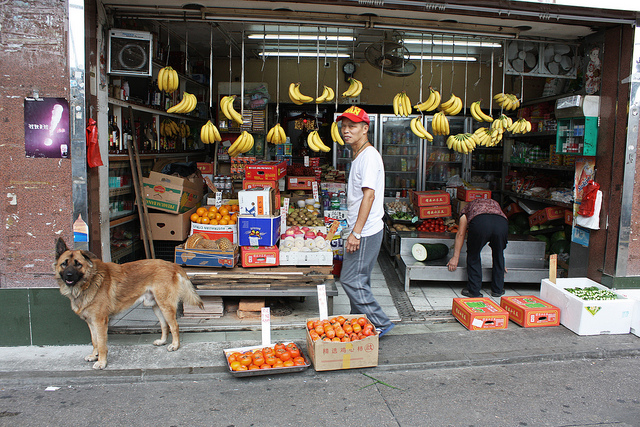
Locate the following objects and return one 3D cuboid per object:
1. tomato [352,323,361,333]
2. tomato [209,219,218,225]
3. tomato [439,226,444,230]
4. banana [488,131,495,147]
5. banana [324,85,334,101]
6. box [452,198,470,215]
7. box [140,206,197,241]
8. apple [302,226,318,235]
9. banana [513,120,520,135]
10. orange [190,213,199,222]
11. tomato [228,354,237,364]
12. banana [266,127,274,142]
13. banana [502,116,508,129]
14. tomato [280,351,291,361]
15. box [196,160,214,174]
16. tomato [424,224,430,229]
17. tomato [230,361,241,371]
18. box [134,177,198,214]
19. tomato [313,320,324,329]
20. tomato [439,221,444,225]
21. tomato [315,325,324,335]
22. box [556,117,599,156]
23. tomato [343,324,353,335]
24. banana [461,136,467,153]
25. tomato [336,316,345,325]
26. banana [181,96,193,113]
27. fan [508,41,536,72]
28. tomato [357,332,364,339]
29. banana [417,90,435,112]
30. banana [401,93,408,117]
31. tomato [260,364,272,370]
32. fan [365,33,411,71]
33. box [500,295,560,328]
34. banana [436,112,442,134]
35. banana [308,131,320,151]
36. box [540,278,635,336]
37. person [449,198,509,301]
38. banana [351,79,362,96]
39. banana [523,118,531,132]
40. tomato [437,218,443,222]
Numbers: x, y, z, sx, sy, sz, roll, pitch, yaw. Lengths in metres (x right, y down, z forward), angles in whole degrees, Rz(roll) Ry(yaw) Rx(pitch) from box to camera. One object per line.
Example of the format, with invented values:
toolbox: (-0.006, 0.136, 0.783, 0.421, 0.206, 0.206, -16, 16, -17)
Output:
tomato: (0.405, 1.231, 4.788, 0.078, 0.077, 0.076, 1, 16, 5)
tomato: (-1.393, 0.118, 5.917, 0.067, 0.080, 0.067, 11, 40, 12)
tomato: (2.263, 0.271, 8.224, 0.057, 0.067, 0.057, -11, -4, 0)
banana: (2.686, -1.173, 6.946, 0.058, 0.209, 0.078, 4, -20, -11)
banana: (0.158, -1.719, 6.477, 0.138, 0.217, 0.055, 1, -22, -17)
box: (2.803, -0.175, 8.770, 0.223, 0.254, 0.386, 2, 8, 1)
box: (-2.140, 0.189, 6.460, 0.439, 0.275, 0.617, 0, 2, 3)
apple: (-0.142, 0.245, 6.416, 0.181, 0.078, 0.090, 11, 2, 20)
banana: (3.066, -1.334, 6.968, 0.049, 0.182, 0.036, 12, 26, -23)
orange: (-1.692, 0.060, 6.059, 0.103, 0.104, 0.105, 32, 42, 28)
tomato: (-0.909, 1.521, 4.655, 0.059, 0.059, 0.058, 9, 2, 7)
banana: (-0.726, -1.122, 6.379, 0.060, 0.220, 0.087, 32, 18, 22)
banana: (2.808, -1.381, 6.761, 0.069, 0.193, 0.052, -14, 6, -33)
tomato: (-0.352, 1.487, 4.653, 0.078, 0.077, 0.078, -2, -2, 4)
box: (-2.162, -0.939, 8.536, 0.358, 0.235, 0.191, 1, -28, -6)
tomato: (2.004, 0.238, 8.266, 0.058, 0.058, 0.075, -24, 18, -33)
tomato: (-0.858, 1.550, 4.553, 0.085, 0.070, 0.072, -10, 13, 0)
box: (-2.251, -0.257, 6.619, 0.899, 0.391, 0.874, 14, -4, -43)
tomato: (-0.009, 1.217, 4.899, 0.068, 0.067, 0.063, -1, 2, 0)
tomato: (2.295, 0.186, 8.323, 0.071, 0.111, 0.064, -7, -3, 35)
tomato: (0.003, 1.252, 4.778, 0.074, 0.073, 0.074, 28, -26, 8)
box: (3.622, -1.089, 6.287, 0.213, 0.530, 0.579, -3, 9, -9)
tomato: (0.311, 1.244, 4.779, 0.092, 0.087, 0.088, -2, -25, -4)
banana: (2.294, -1.089, 7.094, 0.090, 0.259, 0.071, 3, -22, -43)
tomato: (0.237, 1.170, 4.921, 0.074, 0.073, 0.069, 22, 17, 3)
banana: (-1.819, -1.480, 6.145, 0.049, 0.181, 0.140, 12, -31, -3)
fan: (2.897, -2.242, 6.382, 0.406, 0.430, 0.090, -4, 10, -10)
tomato: (0.441, 1.296, 4.746, 0.058, 0.031, 0.056, -5, 5, -44)
banana: (1.603, -1.656, 6.682, 0.172, 0.353, 0.125, 44, -19, -21)
banana: (1.277, -1.611, 6.634, 0.057, 0.328, 0.079, -12, -8, 23)
tomato: (-0.549, 1.567, 4.581, 0.055, 0.054, 0.055, 5, -8, -22)
fan: (1.193, -2.674, 7.056, 0.498, 0.501, 0.507, 11, 6, -31)
box: (2.746, 1.266, 5.835, 0.511, 0.222, 0.660, -1, 5, 1)
banana: (1.834, -1.368, 6.813, 0.082, 0.270, 0.197, 0, 10, 16)
banana: (-0.093, -1.051, 6.476, 0.154, 0.271, 0.238, -5, 10, -11)
box: (3.369, 1.017, 5.510, 0.604, 0.358, 0.854, -1, 9, -6)
person: (2.272, 0.526, 6.354, 0.693, 1.404, 0.941, 7, 14, 44)
banana: (0.572, -1.824, 6.506, 0.155, 0.205, 0.054, 2, -9, -18)
banana: (3.260, -1.349, 6.982, 0.057, 0.247, 0.154, -1, 20, 40)
tomato: (2.266, 0.117, 8.380, 0.048, 0.047, 0.056, -13, -3, -36)
